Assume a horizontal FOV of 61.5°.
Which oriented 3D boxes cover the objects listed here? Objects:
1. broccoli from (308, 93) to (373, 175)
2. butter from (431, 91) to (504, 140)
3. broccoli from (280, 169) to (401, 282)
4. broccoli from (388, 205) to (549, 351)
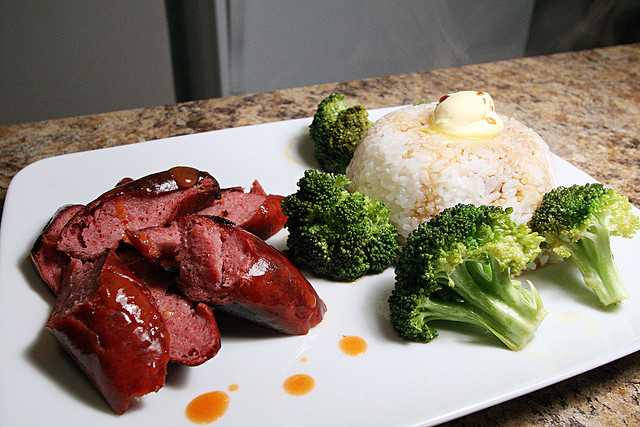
[{"bbox_3d":[0.063,-0.384,2.517,0.284,0.149,0.364,34,56,-22],"label":"broccoli"},{"bbox_3d":[0.605,-0.402,2.166,0.205,0.116,0.215,-14,38,-13],"label":"butter"},{"bbox_3d":[0.059,-0.049,2.097,0.432,0.416,0.352,-9,19,-4],"label":"broccoli"},{"bbox_3d":[0.490,0.187,1.916,0.452,0.467,0.539,-15,19,-20],"label":"broccoli"}]
